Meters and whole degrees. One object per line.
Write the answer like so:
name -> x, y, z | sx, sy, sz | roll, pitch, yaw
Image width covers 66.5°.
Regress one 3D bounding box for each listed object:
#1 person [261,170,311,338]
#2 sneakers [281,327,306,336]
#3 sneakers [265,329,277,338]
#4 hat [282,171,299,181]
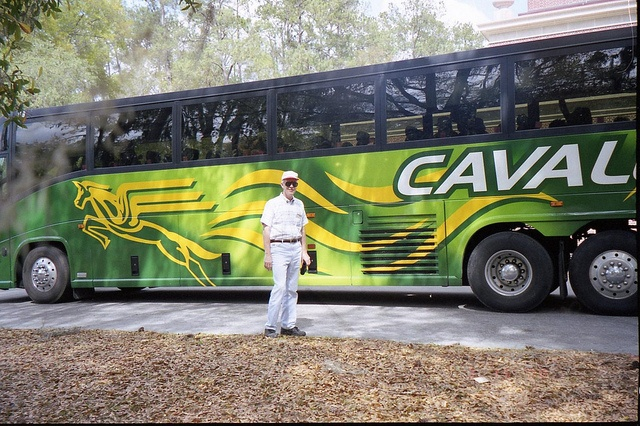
person -> -0.598, 0.714, 8.570 | 0.808, 2.850, 0.511 | -1, 1, -14
sneakers -> -0.469, 2.075, 8.558 | 0.470, 0.192, 0.158 | 0, -7, 9
sneakers -> -0.832, 2.072, 8.346 | 0.178, 0.122, 0.109 | -11, -12, 42
hat -> -0.529, -0.657, 8.653 | 0.263, 0.191, 0.465 | -1, 1, -10
